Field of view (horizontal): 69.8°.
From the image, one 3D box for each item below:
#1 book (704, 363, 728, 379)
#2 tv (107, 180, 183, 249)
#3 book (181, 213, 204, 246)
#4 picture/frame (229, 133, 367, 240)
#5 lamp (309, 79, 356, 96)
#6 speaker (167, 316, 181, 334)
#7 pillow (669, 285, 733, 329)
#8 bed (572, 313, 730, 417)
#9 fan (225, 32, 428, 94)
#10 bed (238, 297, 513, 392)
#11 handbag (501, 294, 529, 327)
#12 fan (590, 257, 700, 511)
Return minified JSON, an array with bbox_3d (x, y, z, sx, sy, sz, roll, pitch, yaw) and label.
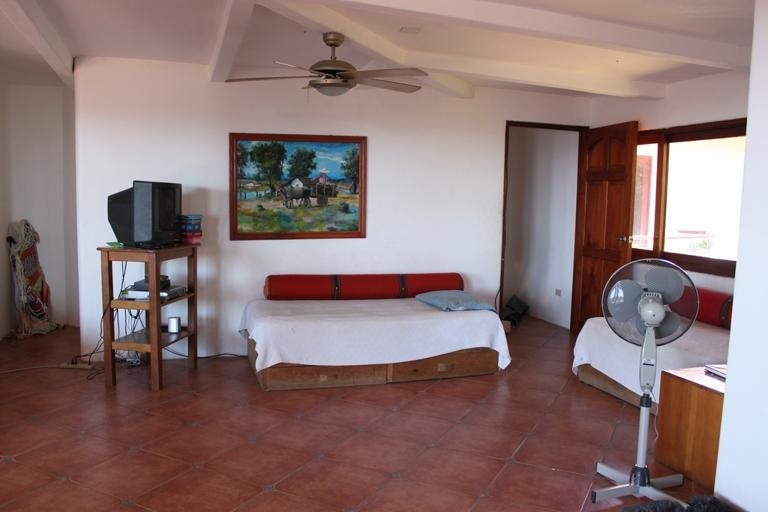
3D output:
[{"bbox_3d":[2.695,0.920,4.460,0.191,0.043,0.185,-3,7,-6],"label":"book"},{"bbox_3d":[-2.455,-0.420,5.709,0.711,0.628,0.750,2,6,7],"label":"tv"},{"bbox_3d":[-2.070,-0.279,5.944,0.278,0.336,0.358,0,2,-26],"label":"book"},{"bbox_3d":[-1.072,-0.842,6.416,1.372,0.980,0.054,-1,5,-11],"label":"picture/frame"},{"bbox_3d":[-0.456,-1.520,4.918,0.395,0.138,0.311,2,8,26],"label":"lamp"},{"bbox_3d":[-2.243,0.732,5.881,0.167,0.169,0.155,2,-1,-15],"label":"speaker"},{"bbox_3d":[3.226,0.513,5.517,0.123,0.347,0.493,6,8,-36],"label":"pillow"},{"bbox_3d":[2.774,0.981,5.455,0.982,0.326,0.950,-7,12,-28],"label":"bed"},{"bbox_3d":[-0.319,-1.588,4.928,1.103,0.355,1.142,3,2,0],"label":"fan"},{"bbox_3d":[-0.109,0.736,5.916,2.169,0.484,1.149,-2,6,-13],"label":"bed"},{"bbox_3d":[1.889,0.782,7.981,0.365,0.165,0.469,18,38,40],"label":"handbag"},{"bbox_3d":[2.003,0.906,4.238,0.658,1.766,1.021,2,9,28],"label":"fan"}]
